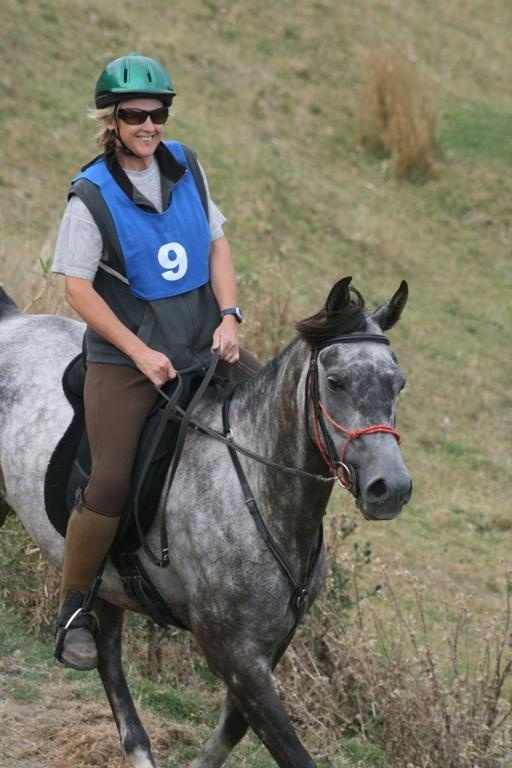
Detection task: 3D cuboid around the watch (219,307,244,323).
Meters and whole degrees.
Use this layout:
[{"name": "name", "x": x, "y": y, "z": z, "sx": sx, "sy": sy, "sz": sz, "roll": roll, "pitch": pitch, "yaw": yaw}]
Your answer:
[{"name": "watch", "x": -0.129, "y": -0.372, "z": 5.515, "sx": 0.117, "sy": 0.064, "sz": 0.108, "roll": -9, "pitch": -34, "yaw": 28}]

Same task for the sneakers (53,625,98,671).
[{"name": "sneakers", "x": -0.934, "y": 1.371, "z": 5.387, "sx": 0.157, "sy": 0.129, "sz": 0.313, "roll": 7, "pitch": -5, "yaw": -31}]

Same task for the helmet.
[{"name": "helmet", "x": -0.618, "y": -1.561, "z": 5.291, "sx": 0.356, "sy": 0.198, "sz": 0.451, "roll": -4, "pitch": 17, "yaw": -1}]
